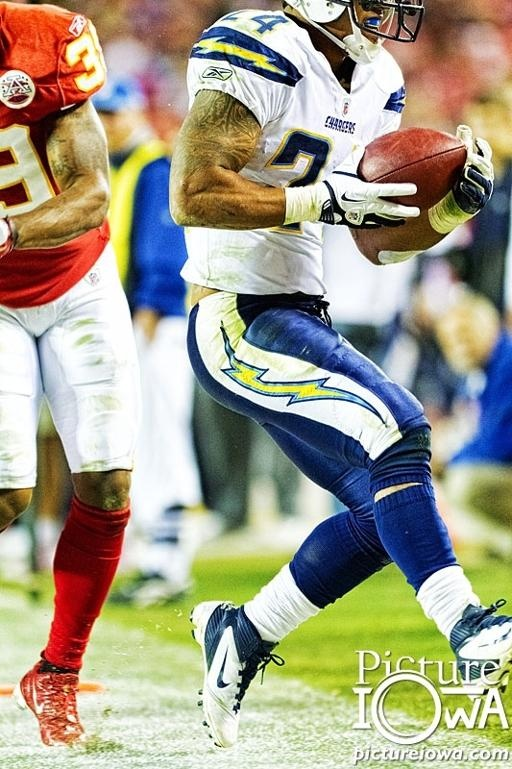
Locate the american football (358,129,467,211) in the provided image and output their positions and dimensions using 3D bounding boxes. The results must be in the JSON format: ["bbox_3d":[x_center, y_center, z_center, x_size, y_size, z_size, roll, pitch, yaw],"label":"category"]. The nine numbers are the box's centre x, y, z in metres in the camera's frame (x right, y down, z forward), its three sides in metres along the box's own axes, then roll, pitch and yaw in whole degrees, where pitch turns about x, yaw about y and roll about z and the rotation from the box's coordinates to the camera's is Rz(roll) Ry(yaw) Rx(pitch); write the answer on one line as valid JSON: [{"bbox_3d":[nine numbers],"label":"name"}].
[{"bbox_3d":[0.317,-0.451,1.774,0.220,0.128,0.150,-22,6,3],"label":"american football"}]

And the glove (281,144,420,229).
[{"bbox_3d":[0.192,-0.395,1.704,0.211,0.128,0.061,-6,4,21],"label":"glove"}]

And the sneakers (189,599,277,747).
[{"bbox_3d":[-0.057,0.624,1.971,0.221,0.124,0.365,-12,68,11],"label":"sneakers"}]
